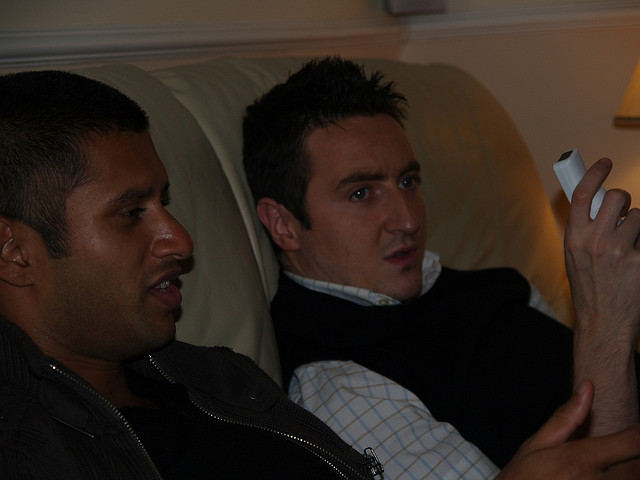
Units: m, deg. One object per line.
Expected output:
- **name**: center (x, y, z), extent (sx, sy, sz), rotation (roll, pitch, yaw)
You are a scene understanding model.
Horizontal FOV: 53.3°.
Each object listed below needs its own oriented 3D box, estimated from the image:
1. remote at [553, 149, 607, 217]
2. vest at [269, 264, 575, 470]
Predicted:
- **remote**: center (0.562, -0.143, 1.433), extent (0.070, 0.110, 0.059), rotation (4, 25, 22)
- **vest**: center (0.294, 0.281, 1.675), extent (0.820, 0.339, 0.553), rotation (-10, 25, -7)
